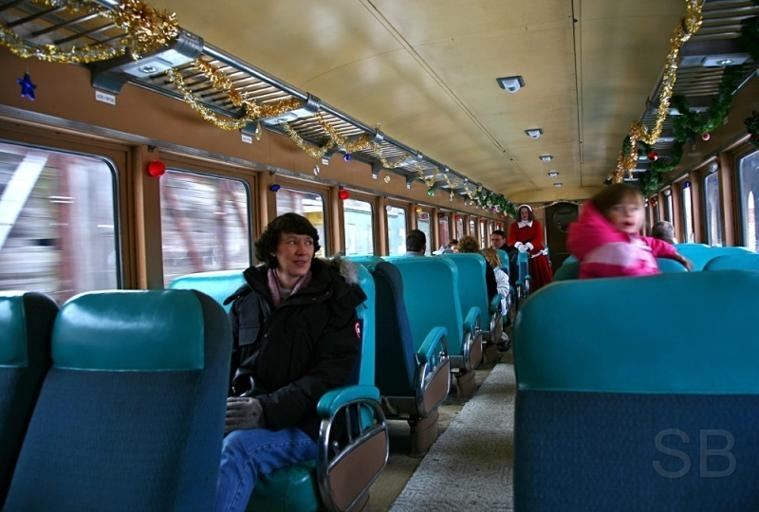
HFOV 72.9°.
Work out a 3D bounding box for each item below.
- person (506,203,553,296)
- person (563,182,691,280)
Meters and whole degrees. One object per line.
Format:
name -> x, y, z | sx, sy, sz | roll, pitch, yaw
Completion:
person -> 2.838, -0.080, 9.399 | 0.664, 1.658, 0.765 | -9, 17, 27
person -> 1.315, -0.124, 2.720 | 0.443, 0.524, 1.403 | -1, 4, 37
